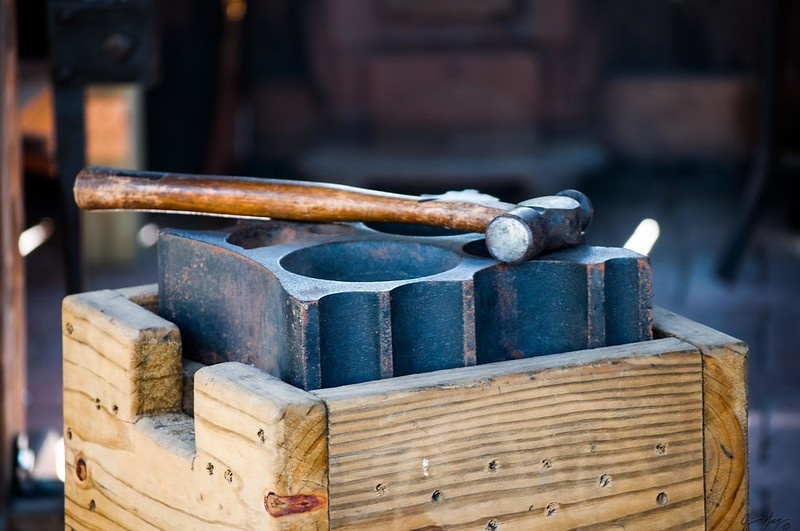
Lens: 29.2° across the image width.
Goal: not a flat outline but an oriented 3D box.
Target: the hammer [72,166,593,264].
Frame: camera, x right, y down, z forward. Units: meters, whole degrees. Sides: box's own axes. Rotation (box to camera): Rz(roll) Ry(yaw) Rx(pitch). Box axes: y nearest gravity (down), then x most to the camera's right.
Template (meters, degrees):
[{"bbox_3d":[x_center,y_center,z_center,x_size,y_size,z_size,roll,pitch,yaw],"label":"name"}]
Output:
[{"bbox_3d":[-0.091,-0.100,2.876,0.678,0.198,0.086,6,-66,13],"label":"hammer"}]
